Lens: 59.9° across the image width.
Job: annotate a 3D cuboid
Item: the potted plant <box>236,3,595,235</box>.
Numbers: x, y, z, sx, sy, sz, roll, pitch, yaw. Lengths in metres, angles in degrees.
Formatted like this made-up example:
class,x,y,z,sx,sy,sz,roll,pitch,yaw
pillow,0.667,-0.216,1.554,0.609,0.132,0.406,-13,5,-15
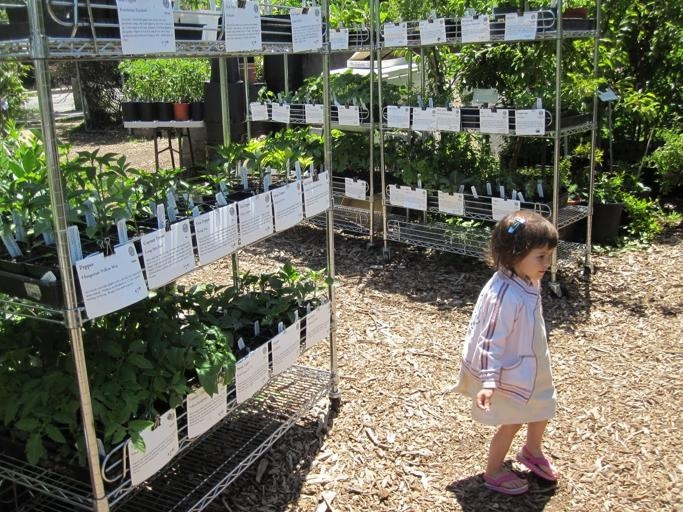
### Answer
class,x,y,z,sx,sy,sz,roll,pitch,yaw
potted plant,0.777,-1.190,5.208,2.422,2.095,0.774,10,22,28

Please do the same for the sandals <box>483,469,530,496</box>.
class,x,y,z,sx,sy,sz,roll,pitch,yaw
sandals,0.865,1.190,3.151,0.206,0.079,0.113,0,20,25

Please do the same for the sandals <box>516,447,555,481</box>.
class,x,y,z,sx,sy,sz,roll,pitch,yaw
sandals,1.057,1.145,3.279,0.248,0.098,0.117,33,15,14

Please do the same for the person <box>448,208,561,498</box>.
class,x,y,z,sx,sy,sz,roll,pitch,yaw
person,0.805,0.528,3.049,0.643,1.483,0.389,-12,18,-35
